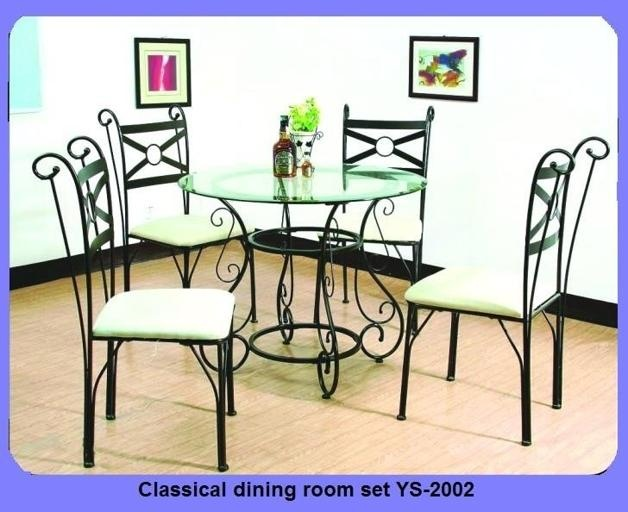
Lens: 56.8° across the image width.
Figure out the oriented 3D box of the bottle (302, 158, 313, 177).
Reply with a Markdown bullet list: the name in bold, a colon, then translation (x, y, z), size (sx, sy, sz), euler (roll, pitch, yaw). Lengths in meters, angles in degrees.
- **bottle**: translation (-0.038, -0.439, 2.919), size (0.072, 0.128, 0.073), euler (0, 11, 0)

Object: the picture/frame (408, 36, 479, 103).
- **picture/frame**: translation (0.842, -1.210, 3.717), size (0.419, 0.367, 0.031), euler (12, 18, 35)
